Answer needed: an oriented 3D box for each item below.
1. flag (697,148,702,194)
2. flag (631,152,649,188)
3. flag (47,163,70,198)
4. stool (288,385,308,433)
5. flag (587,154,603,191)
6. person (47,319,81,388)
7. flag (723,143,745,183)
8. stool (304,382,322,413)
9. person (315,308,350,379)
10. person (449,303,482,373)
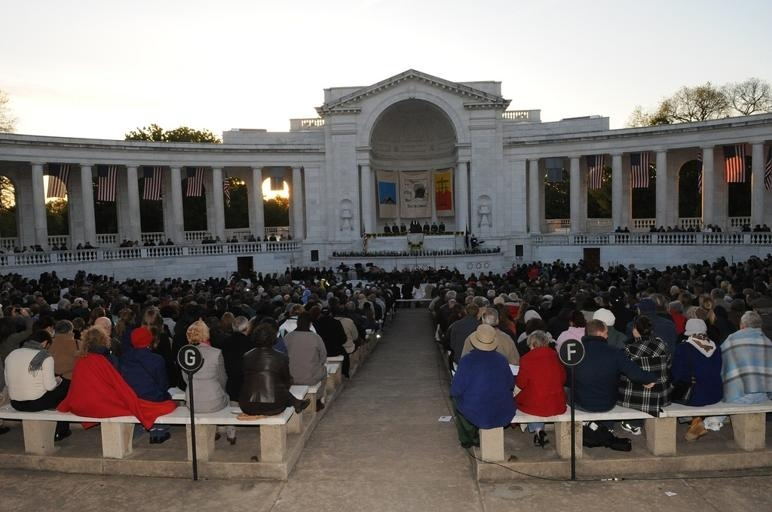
[{"bbox_3d":[22.001,-6.052,74.134,0.365,2.961,4.667,-2,2,17],"label":"flag"},{"bbox_3d":[17.679,-6.092,74.123,1.394,2.512,0.001,-1,6,21],"label":"flag"},{"bbox_3d":[-21.874,-5.153,70.473,1.359,2.289,0.125,5,6,7],"label":"flag"},{"bbox_3d":[-3.423,5.715,39.294,0.620,0.714,1.885,2,21,7],"label":"stool"},{"bbox_3d":[14.971,-6.198,75.994,1.037,2.358,1.595,-2,2,11],"label":"flag"},{"bbox_3d":[-12.000,3.610,39.374,1.128,2.300,0.940,4,0,-19],"label":"person"},{"bbox_3d":[23.148,-6.332,70.475,1.012,2.534,1.972,-4,2,-33],"label":"flag"},{"bbox_3d":[-2.838,5.354,40.055,0.872,0.800,1.360,0,-1,7],"label":"stool"},{"bbox_3d":[-2.030,3.584,42.851,1.185,2.454,1.323,-2,-4,30],"label":"person"},{"bbox_3d":[3.045,3.121,41.198,1.289,2.369,1.064,0,1,-4],"label":"person"}]
